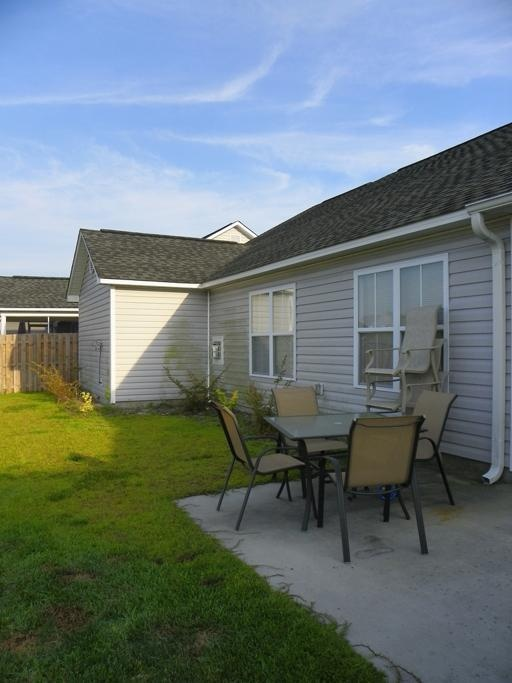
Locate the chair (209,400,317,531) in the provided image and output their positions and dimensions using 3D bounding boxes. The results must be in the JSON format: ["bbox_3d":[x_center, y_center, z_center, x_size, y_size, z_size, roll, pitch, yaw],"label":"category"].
[{"bbox_3d":[0.050,0.965,4.528,0.739,0.894,0.577,0,1,-21],"label":"chair"}]

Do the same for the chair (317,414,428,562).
[{"bbox_3d":[0.775,0.947,3.842,0.714,0.879,0.744,-1,-2,1],"label":"chair"}]

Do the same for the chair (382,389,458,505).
[{"bbox_3d":[1.265,0.875,4.735,0.786,0.867,0.658,-7,10,-37],"label":"chair"}]

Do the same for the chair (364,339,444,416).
[{"bbox_3d":[1.554,0.307,5.919,0.735,0.741,0.797,-5,1,-44],"label":"chair"}]
